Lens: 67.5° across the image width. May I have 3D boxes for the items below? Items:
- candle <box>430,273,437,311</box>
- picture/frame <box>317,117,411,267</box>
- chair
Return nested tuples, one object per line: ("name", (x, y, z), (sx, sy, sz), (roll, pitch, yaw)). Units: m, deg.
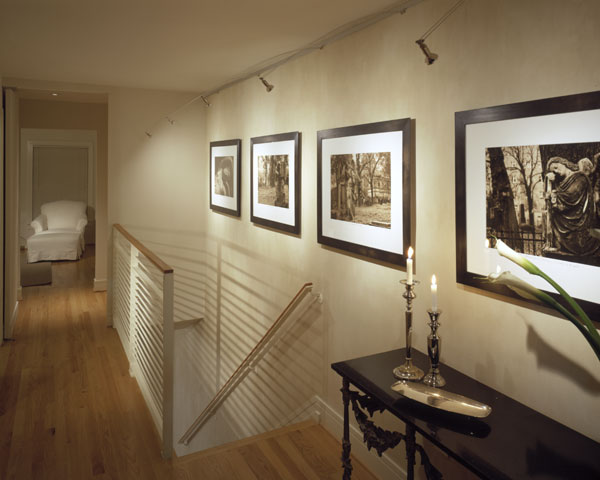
("candle", (0.607, 0.228, 1.997), (0.024, 0.156, 0.072), (3, 7, 15))
("picture/frame", (0.434, -0.320, 2.840), (0.029, 0.995, 0.846), (-2, 5, -32))
("chair", (-4.887, -0.244, 9.076), (0.920, 1.342, 1.420), (-1, 1, -15))
